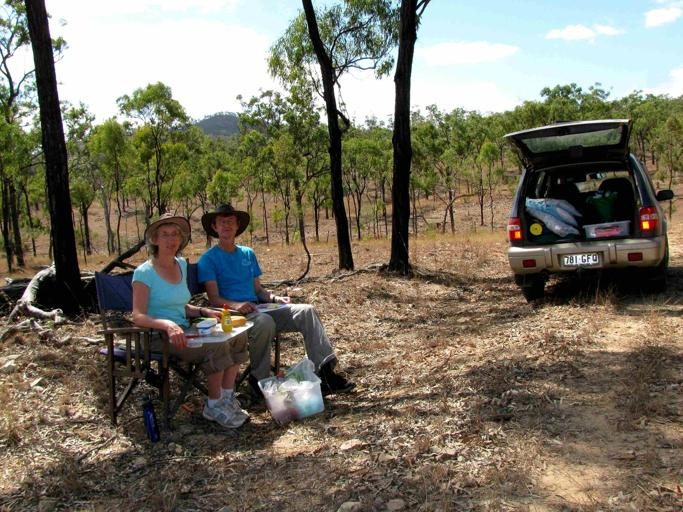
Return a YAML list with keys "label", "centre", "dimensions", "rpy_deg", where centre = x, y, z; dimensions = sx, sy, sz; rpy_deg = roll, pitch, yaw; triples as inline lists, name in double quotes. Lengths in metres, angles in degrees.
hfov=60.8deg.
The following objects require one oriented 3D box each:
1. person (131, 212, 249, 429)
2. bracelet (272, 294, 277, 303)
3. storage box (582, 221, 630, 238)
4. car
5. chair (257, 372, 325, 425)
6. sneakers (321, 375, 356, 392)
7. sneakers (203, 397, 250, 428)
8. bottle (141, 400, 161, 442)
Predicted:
- label: "person"
  centre: [-1.374, 0.573, 5.253]
  dimensions: [0.937, 1.925, 0.802]
  rpy_deg: [-5, 4, -22]
- label: "bracelet"
  centre: [-0.699, 0.451, 6.089]
  dimensions: [0.048, 0.075, 0.017]
  rpy_deg: [-18, -14, 38]
- label: "storage box"
  centre: [3.287, -0.317, 7.207]
  dimensions: [0.351, 0.127, 0.263]
  rpy_deg: [-6, -5, 32]
- label: "car"
  centre: [3.205, -0.560, 7.698]
  dimensions: [1.818, 2.272, 1.488]
  rpy_deg: [-2, 4, 26]
- label: "chair"
  centre: [-0.444, 1.291, 5.275]
  dimensions: [0.565, 0.372, 0.255]
  rpy_deg: [-4, 4, -11]
- label: "sneakers"
  centre: [-0.039, 1.247, 5.741]
  dimensions: [0.368, 0.176, 0.141]
  rpy_deg: [-2, 1, -4]
- label: "sneakers"
  centre: [-1.019, 1.394, 5.214]
  dimensions: [0.367, 0.190, 0.210]
  rpy_deg: [11, 12, 13]
- label: "bottle"
  centre: [-1.638, 1.406, 5.022]
  dimensions: [0.122, 0.321, 0.337]
  rpy_deg: [-5, 4, -20]
